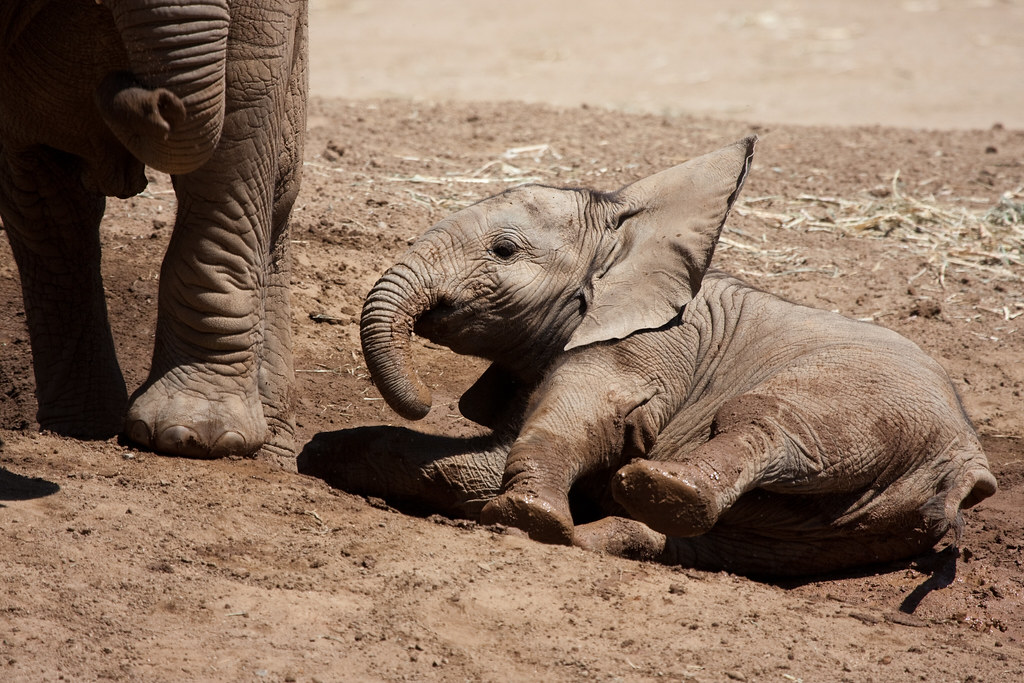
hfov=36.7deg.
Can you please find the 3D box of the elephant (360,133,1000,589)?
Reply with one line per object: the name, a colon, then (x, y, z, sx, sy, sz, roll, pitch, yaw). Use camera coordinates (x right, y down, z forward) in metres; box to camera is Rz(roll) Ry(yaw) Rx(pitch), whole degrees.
elephant: (0.882, 0.099, 7.873, 2.958, 2.135, 1.826, 18, 22, 21)
